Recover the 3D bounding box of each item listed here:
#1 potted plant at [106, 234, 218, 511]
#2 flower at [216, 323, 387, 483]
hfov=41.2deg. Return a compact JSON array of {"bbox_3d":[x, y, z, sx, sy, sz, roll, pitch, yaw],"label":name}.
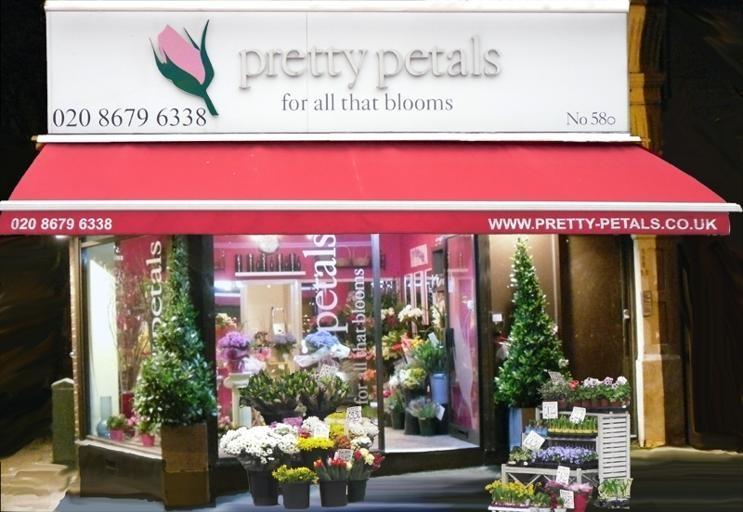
[{"bbox_3d":[-2.517,1.526,13.227,0.946,3.566,0.634,1,-12,-10],"label":"potted plant"},{"bbox_3d":[-0.972,1.982,13.279,1.911,1.010,1.944,-4,4,-2],"label":"flower"}]
